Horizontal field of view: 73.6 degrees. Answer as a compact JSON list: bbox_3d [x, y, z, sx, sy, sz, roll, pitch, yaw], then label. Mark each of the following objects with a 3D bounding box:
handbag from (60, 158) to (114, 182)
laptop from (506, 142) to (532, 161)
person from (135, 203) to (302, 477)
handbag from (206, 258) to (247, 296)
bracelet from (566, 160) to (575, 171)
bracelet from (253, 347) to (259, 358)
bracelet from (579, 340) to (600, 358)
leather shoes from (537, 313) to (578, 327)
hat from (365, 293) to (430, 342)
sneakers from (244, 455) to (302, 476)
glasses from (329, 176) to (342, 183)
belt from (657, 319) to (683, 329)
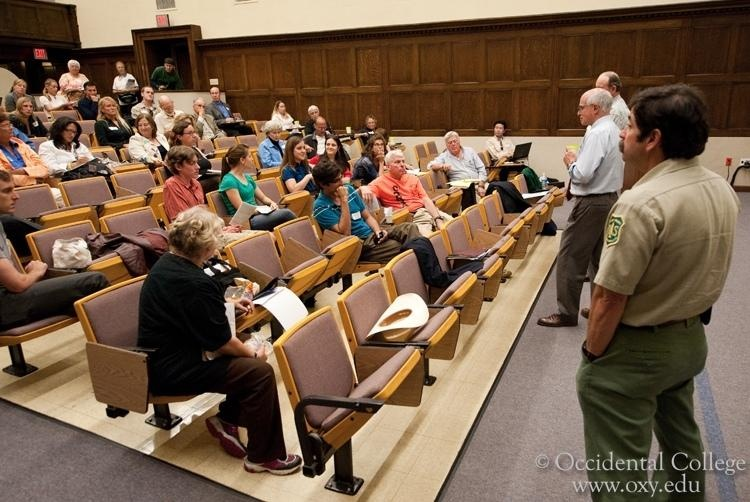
[{"bbox_3d":[-3.647,-1.025,6.323,0.482,0.191,0.357,-10,15,-27],"label":"handbag"},{"bbox_3d":[2.721,-1.825,9.287,0.513,0.344,0.311,-4,19,-38],"label":"laptop"},{"bbox_3d":[-0.985,0.576,3.193,0.939,1.631,0.508,1,22,17],"label":"person"},{"bbox_3d":[-1.164,0.186,3.891,0.300,0.102,0.223,25,32,26],"label":"handbag"},{"bbox_3d":[1.697,-0.739,4.354,0.064,0.076,0.070,-17,16,-26],"label":"bracelet"},{"bbox_3d":[-0.791,0.681,3.323,0.047,0.058,0.022,-3,-13,-8],"label":"bracelet"},{"bbox_3d":[1.101,0.500,2.571,0.075,0.061,0.064,13,26,43],"label":"bracelet"},{"bbox_3d":[1.704,0.651,4.717,0.354,0.138,0.135,3,6,9],"label":"leather shoes"},{"bbox_3d":[0.152,0.456,3.332,0.288,0.127,0.352,-7,26,30],"label":"hat"},{"bbox_3d":[-0.624,1.363,3.184,0.370,0.154,0.131,-2,1,-4],"label":"sneakers"},{"bbox_3d":[-0.388,-0.717,5.071,0.072,0.021,0.072,1,22,43],"label":"glasses"},{"bbox_3d":[1.423,0.353,2.421,0.062,0.014,0.059,-15,1,7],"label":"belt"}]
